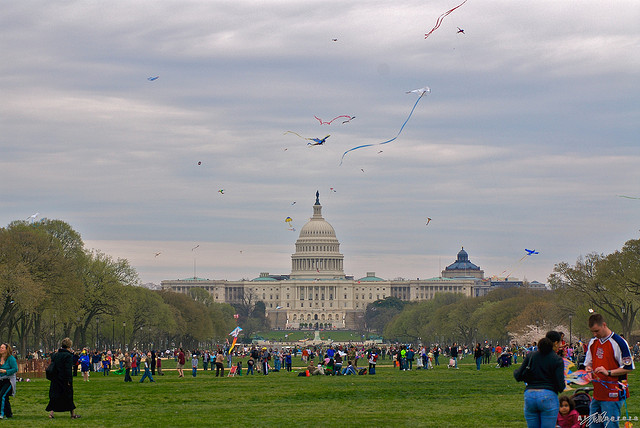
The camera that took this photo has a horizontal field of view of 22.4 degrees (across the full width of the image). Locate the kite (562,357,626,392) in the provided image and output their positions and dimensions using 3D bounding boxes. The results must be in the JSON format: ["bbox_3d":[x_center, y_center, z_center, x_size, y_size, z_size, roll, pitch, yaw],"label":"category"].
[{"bbox_3d":[16.292,10.072,99.051,3.288,0.615,2.034,24,-49,13],"label":"kite"}]

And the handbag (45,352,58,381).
[{"bbox_3d":[-17.346,9.657,104.387,0.628,1.688,0.481,2,-14,-9],"label":"handbag"}]
